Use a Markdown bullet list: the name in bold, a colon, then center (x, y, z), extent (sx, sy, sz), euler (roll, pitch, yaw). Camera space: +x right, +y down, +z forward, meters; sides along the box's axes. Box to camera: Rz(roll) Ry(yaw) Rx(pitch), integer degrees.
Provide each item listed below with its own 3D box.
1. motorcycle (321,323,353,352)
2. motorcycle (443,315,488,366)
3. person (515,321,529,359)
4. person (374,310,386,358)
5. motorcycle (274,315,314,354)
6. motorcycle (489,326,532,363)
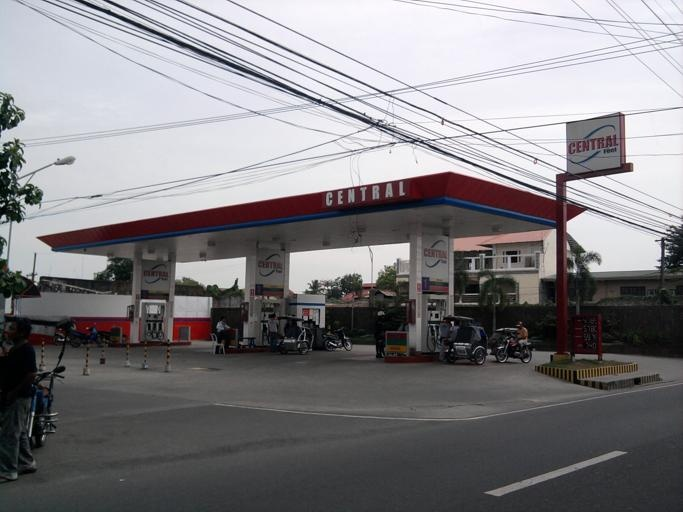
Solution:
- **motorcycle**: center (-0.398, 4.779, 34.129), extent (1.672, 1.096, 0.835), euler (2, -3, -43)
- **motorcycle**: center (5.066, 3.513, 24.406), extent (1.377, 1.596, 2.117), euler (-5, -10, 31)
- **person**: center (7.776, 3.628, 25.661), extent (0.543, 1.549, 1.140), euler (-1, -8, 17)
- **person**: center (1.828, 3.511, 27.402), extent (0.673, 2.221, 0.656), euler (-1, 8, 3)
- **motorcycle**: center (-2.218, 3.937, 29.907), extent (1.371, 1.821, 2.043), euler (-5, -11, 28)
- **motorcycle**: center (7.364, 3.804, 25.633), extent (2.024, 1.446, 1.018), euler (5, -8, -28)
